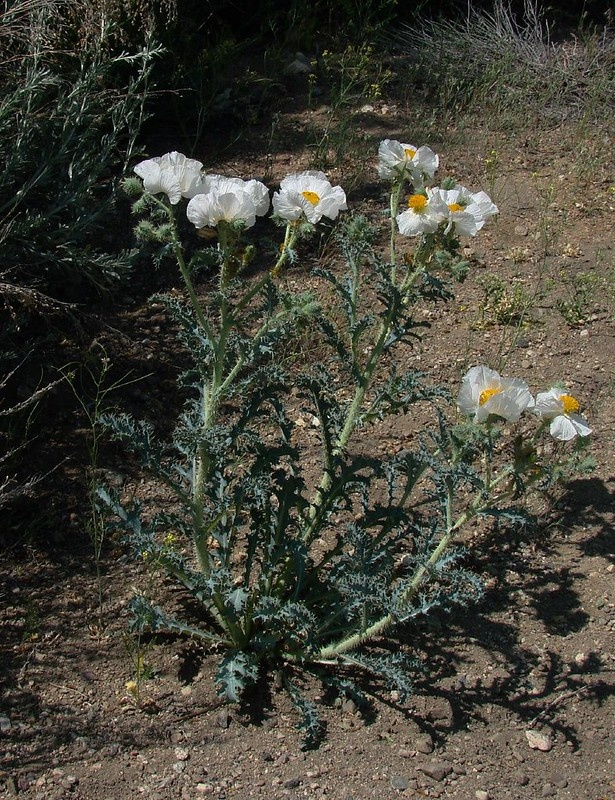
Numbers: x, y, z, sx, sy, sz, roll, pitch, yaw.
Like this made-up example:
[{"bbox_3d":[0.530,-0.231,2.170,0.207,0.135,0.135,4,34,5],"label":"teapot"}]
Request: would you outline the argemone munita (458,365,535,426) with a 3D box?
[{"bbox_3d":[0.521,0.000,2.390,0.207,0.207,0.088,-13,66,10],"label":"argemone munita"}]
